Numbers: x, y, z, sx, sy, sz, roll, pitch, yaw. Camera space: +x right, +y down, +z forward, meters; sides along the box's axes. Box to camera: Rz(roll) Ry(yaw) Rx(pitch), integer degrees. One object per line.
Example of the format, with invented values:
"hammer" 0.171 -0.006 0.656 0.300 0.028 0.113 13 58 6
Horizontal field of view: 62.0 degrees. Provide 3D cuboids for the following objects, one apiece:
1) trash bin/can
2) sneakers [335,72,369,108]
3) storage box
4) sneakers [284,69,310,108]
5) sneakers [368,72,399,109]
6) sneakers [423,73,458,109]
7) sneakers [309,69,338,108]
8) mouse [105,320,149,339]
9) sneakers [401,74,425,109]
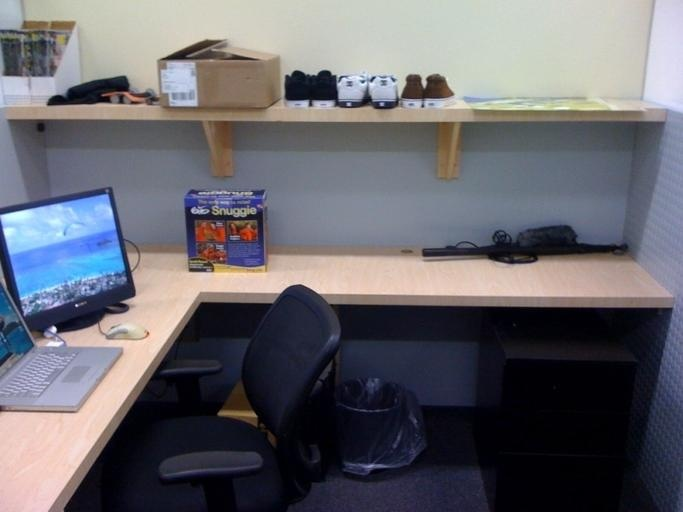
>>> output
"trash bin/can" 0.099 0.858 2.819 0.352 0.381 0.336 1 6 -2
"sneakers" 0.037 -0.754 2.589 0.123 0.139 0.342 2 21 2
"storage box" -0.544 -0.813 2.539 0.494 0.274 0.319 -1 23 1
"sneakers" -0.204 -0.751 2.651 0.139 0.169 0.396 1 11 -2
"sneakers" 0.180 -0.706 2.457 0.129 0.155 0.358 0 19 3
"sneakers" 0.443 -0.760 2.591 0.150 0.156 0.321 6 22 19
"sneakers" -0.082 -0.728 2.628 0.140 0.149 0.355 2 7 -3
"mouse" -0.809 0.271 2.129 0.115 0.039 0.072 2 2 -2
"sneakers" 0.307 -0.712 2.466 0.102 0.129 0.083 1 23 5
